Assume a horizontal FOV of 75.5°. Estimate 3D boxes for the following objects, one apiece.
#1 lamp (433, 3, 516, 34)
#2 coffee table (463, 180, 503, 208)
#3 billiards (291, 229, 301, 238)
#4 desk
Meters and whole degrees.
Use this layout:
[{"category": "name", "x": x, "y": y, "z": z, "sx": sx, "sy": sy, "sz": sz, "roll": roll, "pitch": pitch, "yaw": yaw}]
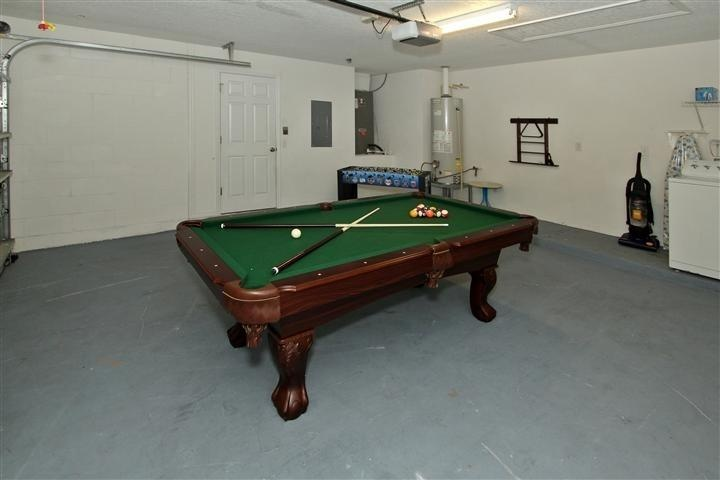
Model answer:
[{"category": "lamp", "x": 1.272, "y": -2.458, "z": 5.119, "sx": 0.908, "sy": 0.201, "sz": 0.213, "roll": 10, "pitch": 19, "yaw": 37}, {"category": "coffee table", "x": 2.105, "y": -0.870, "z": 7.945, "sx": 0.643, "sy": 0.398, "sz": 0.630, "roll": 2, "pitch": 18, "yaw": 20}, {"category": "billiards", "x": -0.543, "y": -0.052, "z": 3.991, "sx": 0.081, "sy": 0.076, "sz": 0.040, "roll": -5, "pitch": -3, "yaw": -9}, {"category": "desk", "x": 0.048, "y": 0.403, "z": 4.330, "sx": 2.940, "sy": 1.319, "sz": 1.692, "roll": -11, "pitch": 18, "yaw": -31}]
